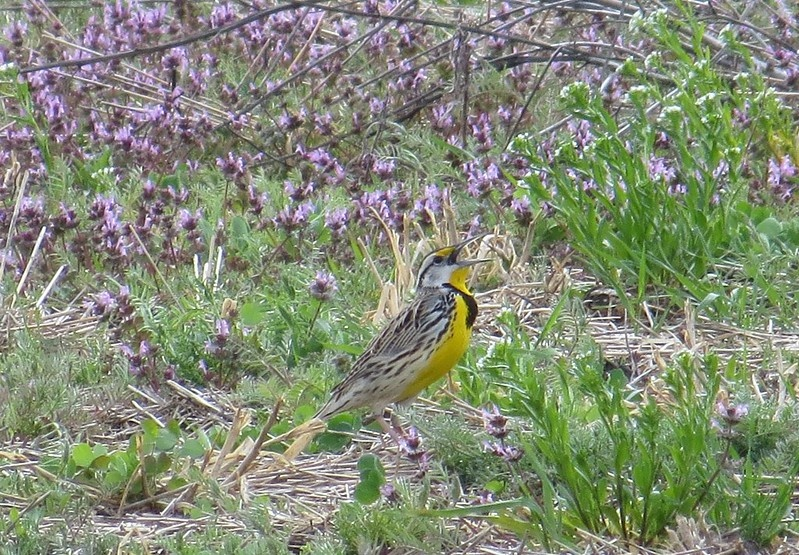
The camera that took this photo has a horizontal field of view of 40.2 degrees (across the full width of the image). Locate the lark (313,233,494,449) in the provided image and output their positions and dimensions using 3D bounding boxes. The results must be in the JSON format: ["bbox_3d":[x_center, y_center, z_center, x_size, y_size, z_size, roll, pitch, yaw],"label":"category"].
[{"bbox_3d":[0.035,0.293,5.318,0.522,0.924,0.893,13,18,25],"label":"lark"}]
